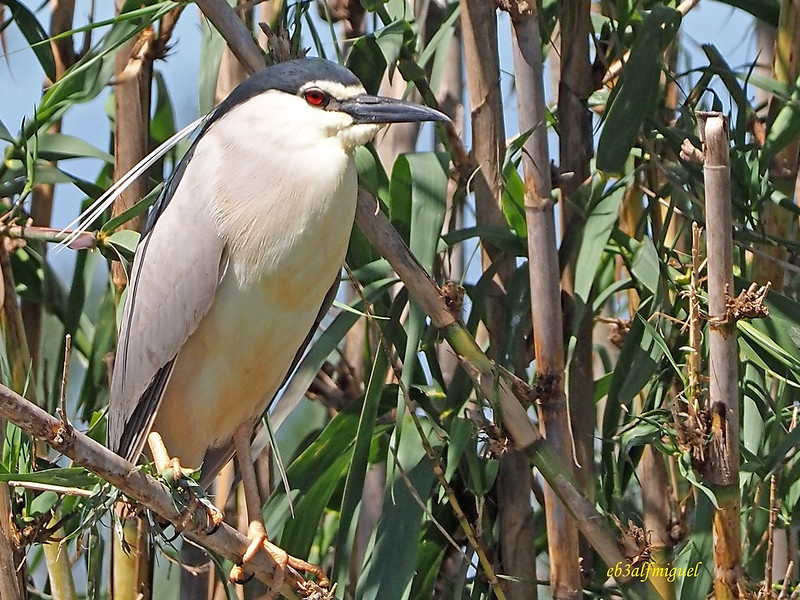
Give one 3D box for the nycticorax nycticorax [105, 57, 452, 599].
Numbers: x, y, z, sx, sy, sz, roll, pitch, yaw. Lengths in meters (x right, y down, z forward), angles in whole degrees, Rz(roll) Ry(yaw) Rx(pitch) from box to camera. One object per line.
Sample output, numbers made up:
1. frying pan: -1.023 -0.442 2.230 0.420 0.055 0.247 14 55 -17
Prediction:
1. nycticorax nycticorax: -0.225 0.047 1.920 0.316 0.801 0.550 6 -12 -34
